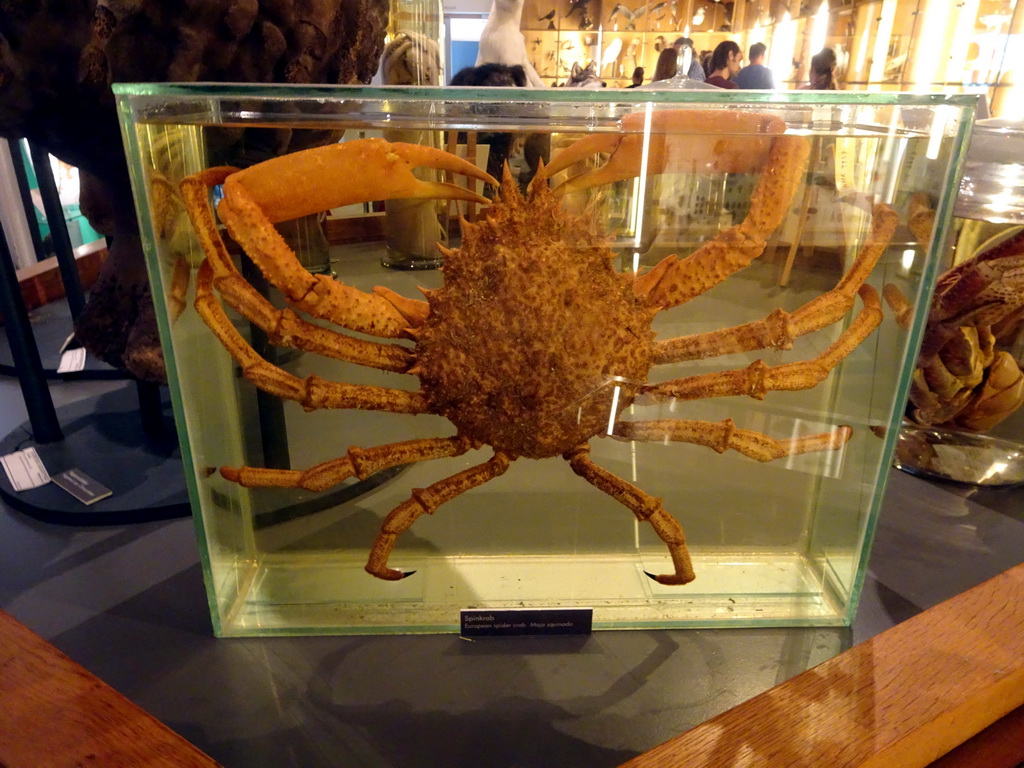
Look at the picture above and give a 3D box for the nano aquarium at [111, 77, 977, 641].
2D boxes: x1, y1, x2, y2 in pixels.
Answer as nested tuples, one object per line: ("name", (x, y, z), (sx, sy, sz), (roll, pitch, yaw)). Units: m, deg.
("nano aquarium", (0.072, -0.031, 1.842), (1.547, 1.185, 0.506), (0, 27, -2))
